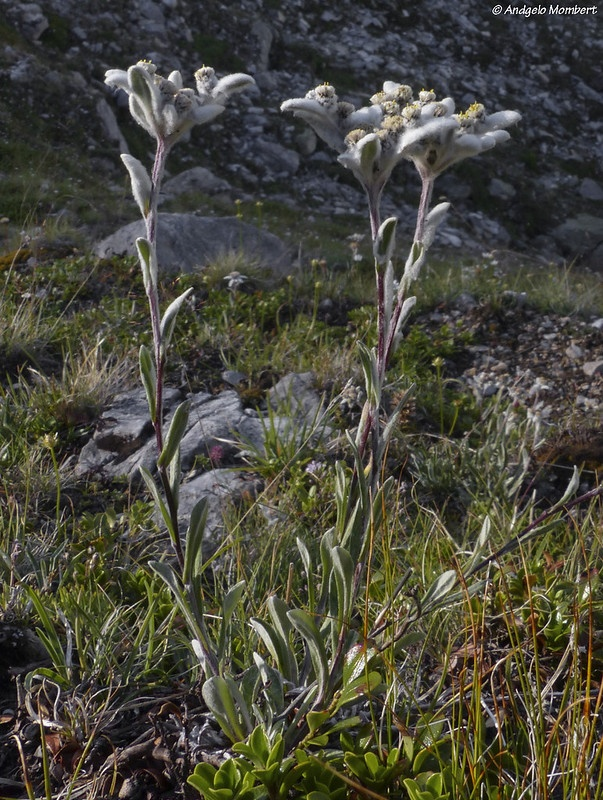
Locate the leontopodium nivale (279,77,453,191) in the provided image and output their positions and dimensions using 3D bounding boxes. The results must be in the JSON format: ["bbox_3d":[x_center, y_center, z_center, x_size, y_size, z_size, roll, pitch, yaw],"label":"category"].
[{"bbox_3d":[0.146,-0.629,2.170,0.316,0.205,0.306,3,-5,-28],"label":"leontopodium nivale"}]

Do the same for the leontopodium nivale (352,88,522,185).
[{"bbox_3d":[0.330,-0.641,2.216,0.280,0.149,0.271,9,-22,16],"label":"leontopodium nivale"}]

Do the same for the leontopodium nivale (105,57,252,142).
[{"bbox_3d":[-0.285,-0.672,2.207,0.359,0.209,0.333,1,7,-12],"label":"leontopodium nivale"}]
